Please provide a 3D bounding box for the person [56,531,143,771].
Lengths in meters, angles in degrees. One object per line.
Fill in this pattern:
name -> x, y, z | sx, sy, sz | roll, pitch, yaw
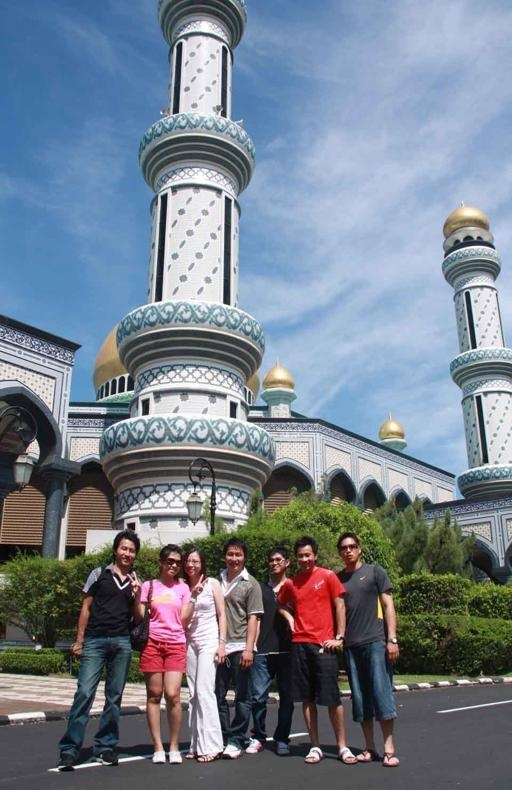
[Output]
person -> -1.021, 1.638, 4.702 | 0.505, 1.459, 0.665 | -1, -16, -10

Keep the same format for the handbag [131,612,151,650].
handbag -> -0.772, 1.596, 4.771 | 0.070, 0.195, 0.162 | 18, -53, -6

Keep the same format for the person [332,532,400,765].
person -> 0.795, 1.704, 4.893 | 0.385, 1.524, 0.691 | -5, -16, 6

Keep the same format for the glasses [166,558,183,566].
glasses -> -0.568, 1.170, 4.965 | 0.063, 0.022, 0.066 | 17, -53, -19

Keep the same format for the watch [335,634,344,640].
watch -> 0.578, 1.663, 4.840 | 0.060, 0.040, 0.060 | -12, -29, 15

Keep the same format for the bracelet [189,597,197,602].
bracelet -> -0.440, 1.431, 4.962 | 0.029, 0.040, 0.022 | 6, -7, 28
